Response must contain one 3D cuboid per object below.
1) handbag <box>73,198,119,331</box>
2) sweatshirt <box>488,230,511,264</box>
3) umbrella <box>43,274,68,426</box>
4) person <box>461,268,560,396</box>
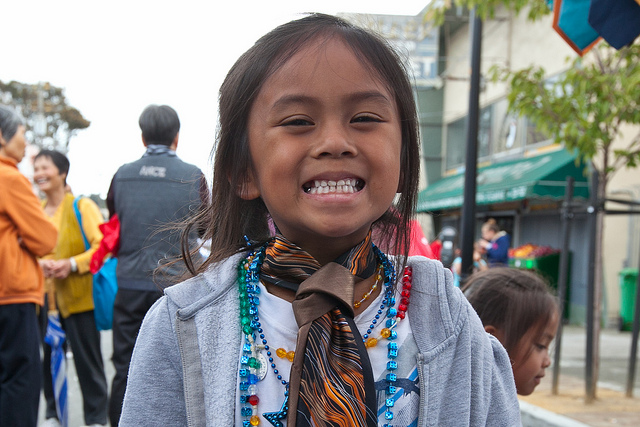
[{"bbox_3d":[-1.965,0.656,5.678,0.365,1.465,0.607,2,18,-20],"label":"handbag"},{"bbox_3d":[2.615,0.498,9.405,0.164,0.424,0.314,2,8,16],"label":"sweatshirt"},{"bbox_3d":[-2.278,1.161,5.540,0.190,1.246,0.458,2,5,-29],"label":"umbrella"},{"bbox_3d":[1.365,0.844,4.646,0.736,1.137,0.679,-1,-12,20],"label":"person"}]
